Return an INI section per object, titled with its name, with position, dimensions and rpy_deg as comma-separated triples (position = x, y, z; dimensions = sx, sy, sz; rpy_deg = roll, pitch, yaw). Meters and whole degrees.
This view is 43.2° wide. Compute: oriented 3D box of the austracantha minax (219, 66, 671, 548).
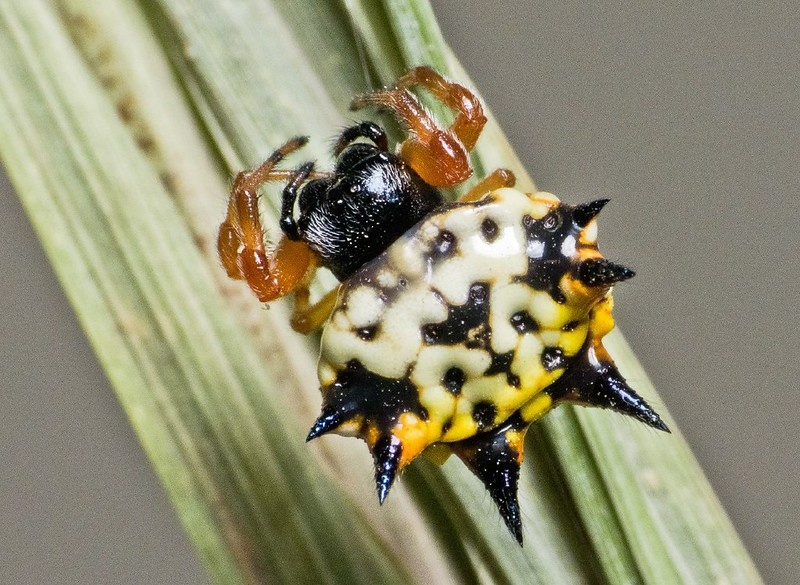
[austracantha minax]
position = 0.061, 0.046, 1.756
dimensions = 0.578, 0.527, 0.796
rpy_deg = -43, 76, -6
